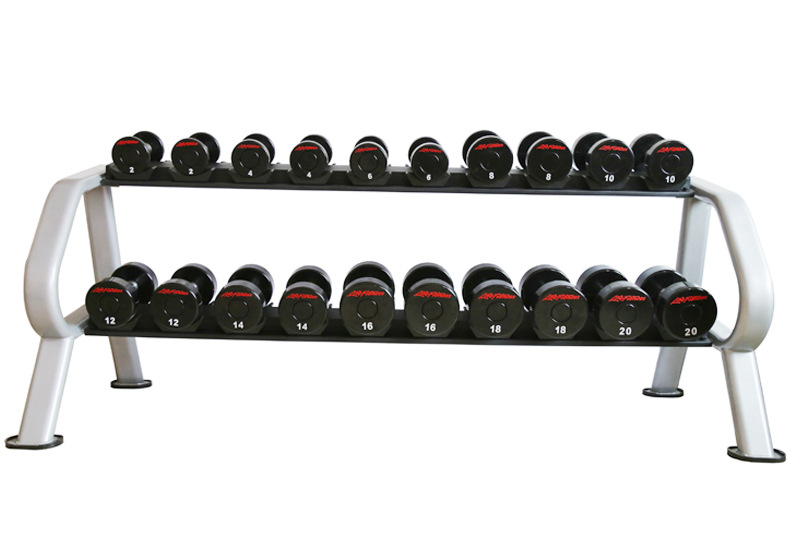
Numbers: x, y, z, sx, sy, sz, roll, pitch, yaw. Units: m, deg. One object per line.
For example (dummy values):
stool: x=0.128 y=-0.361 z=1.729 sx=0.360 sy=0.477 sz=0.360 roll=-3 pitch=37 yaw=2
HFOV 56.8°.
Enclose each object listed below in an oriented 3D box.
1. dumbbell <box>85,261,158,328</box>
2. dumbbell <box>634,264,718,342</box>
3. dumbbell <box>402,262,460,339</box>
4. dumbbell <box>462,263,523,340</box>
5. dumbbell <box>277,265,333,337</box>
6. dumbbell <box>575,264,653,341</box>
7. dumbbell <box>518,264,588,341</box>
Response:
dumbbell: x=-1.033 y=0.088 z=2.750 sx=0.179 sy=0.177 sz=0.334 roll=-1 pitch=1 yaw=-9
dumbbell: x=0.956 y=0.101 z=2.497 sx=0.137 sy=0.111 sz=0.275 roll=12 pitch=14 yaw=-3
dumbbell: x=0.143 y=0.060 z=2.739 sx=0.230 sy=0.163 sz=0.450 roll=-3 pitch=11 yaw=4
dumbbell: x=0.371 y=0.060 z=2.738 sx=0.236 sy=0.165 sz=0.457 roll=-1 pitch=12 yaw=2
dumbbell: x=-0.307 y=0.096 z=2.511 sx=0.130 sy=0.100 sz=0.271 roll=-1 pitch=11 yaw=0
dumbbell: x=0.808 y=0.063 z=2.718 sx=0.210 sy=0.168 sz=0.424 roll=-5 pitch=15 yaw=3
dumbbell: x=0.622 y=0.078 z=2.722 sx=0.227 sy=0.167 sz=0.439 roll=1 pitch=11 yaw=10
